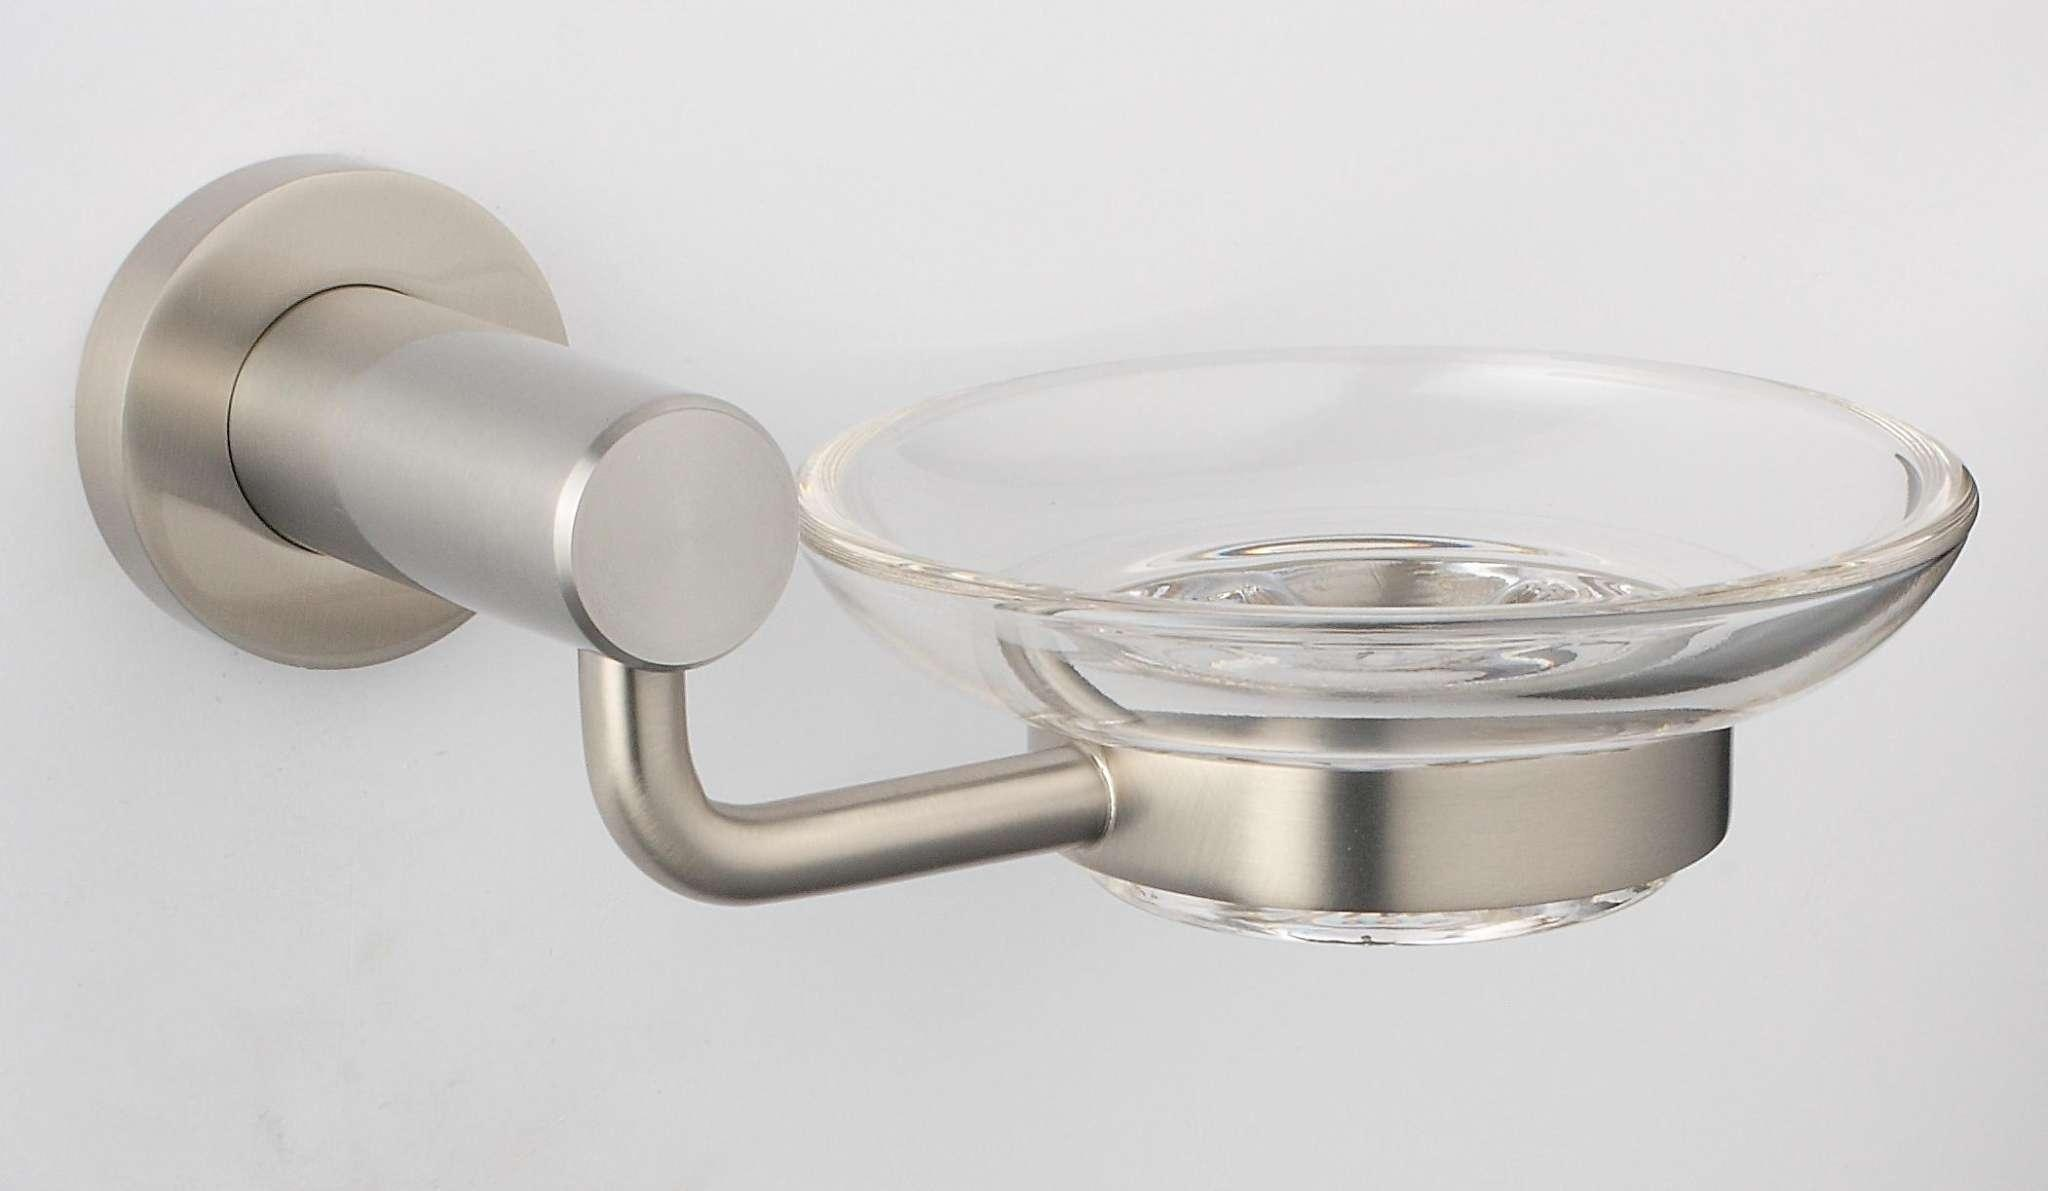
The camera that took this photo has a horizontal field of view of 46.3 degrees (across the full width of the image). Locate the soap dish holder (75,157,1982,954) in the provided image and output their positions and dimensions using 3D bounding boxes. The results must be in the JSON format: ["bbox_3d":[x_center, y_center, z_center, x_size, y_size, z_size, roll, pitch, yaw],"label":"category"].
[{"bbox_3d":[-0.062,-0.016,0.853,0.617,0.156,0.362,3,6,37],"label":"soap dish holder"}]
